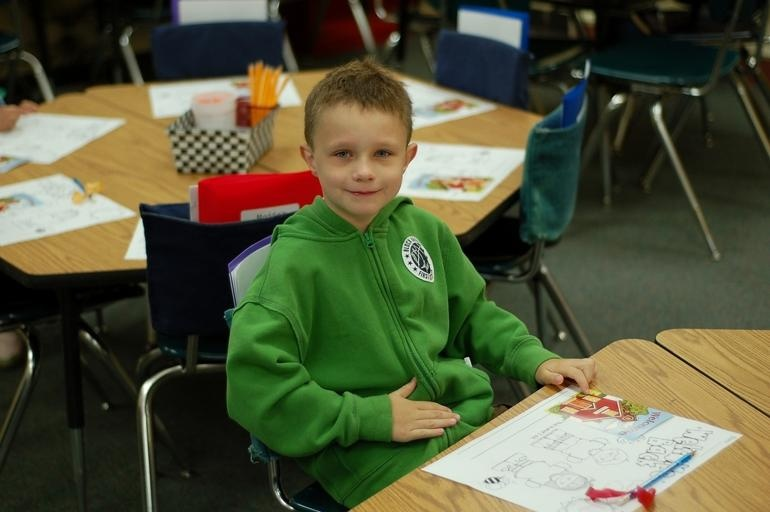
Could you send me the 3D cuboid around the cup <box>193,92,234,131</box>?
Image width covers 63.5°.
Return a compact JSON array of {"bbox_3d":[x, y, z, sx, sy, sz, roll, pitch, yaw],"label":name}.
[{"bbox_3d":[-0.556,-0.473,2.036,0.122,0.091,0.122,1,29,0],"label":"cup"}]
